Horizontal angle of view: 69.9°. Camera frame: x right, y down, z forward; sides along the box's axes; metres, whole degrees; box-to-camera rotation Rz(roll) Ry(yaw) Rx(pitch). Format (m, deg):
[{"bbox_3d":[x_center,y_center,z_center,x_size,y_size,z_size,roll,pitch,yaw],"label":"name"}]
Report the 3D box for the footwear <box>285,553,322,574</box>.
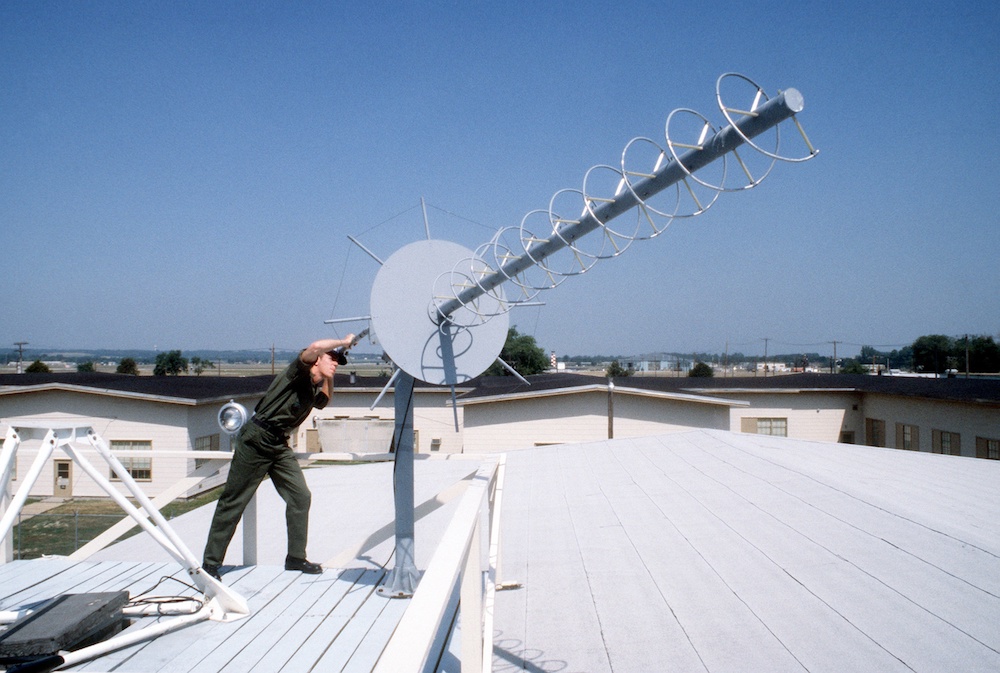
[{"bbox_3d":[-1.969,2.296,7.259,0.421,0.200,0.152,1,-4,5],"label":"footwear"}]
